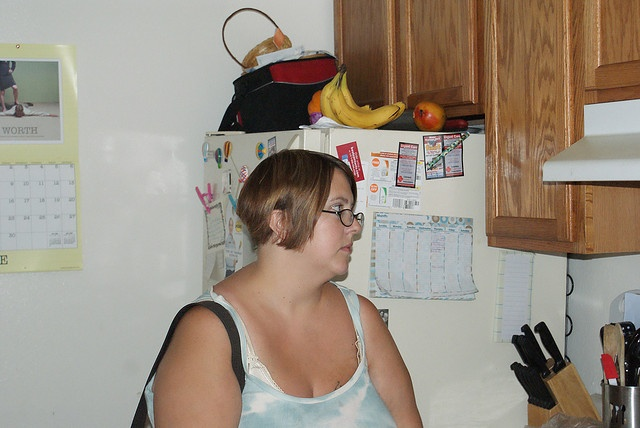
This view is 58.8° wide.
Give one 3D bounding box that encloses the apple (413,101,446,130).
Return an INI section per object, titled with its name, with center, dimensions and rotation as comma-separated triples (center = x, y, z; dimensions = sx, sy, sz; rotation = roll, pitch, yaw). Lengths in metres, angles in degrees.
[apple]
center = 0.433, -0.387, 2.252
dimensions = 0.124, 0.115, 0.070
rotation = -1, 4, 10

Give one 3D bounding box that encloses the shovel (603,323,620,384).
[shovel]
center = 1.000, 0.493, 1.964
dimensions = 0.043, 0.214, 0.028
rotation = -6, -16, 17

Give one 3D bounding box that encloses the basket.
[basket]
center = -0.309, -0.868, 2.757
dimensions = 0.327, 0.357, 0.320
rotation = -2, 4, -10
